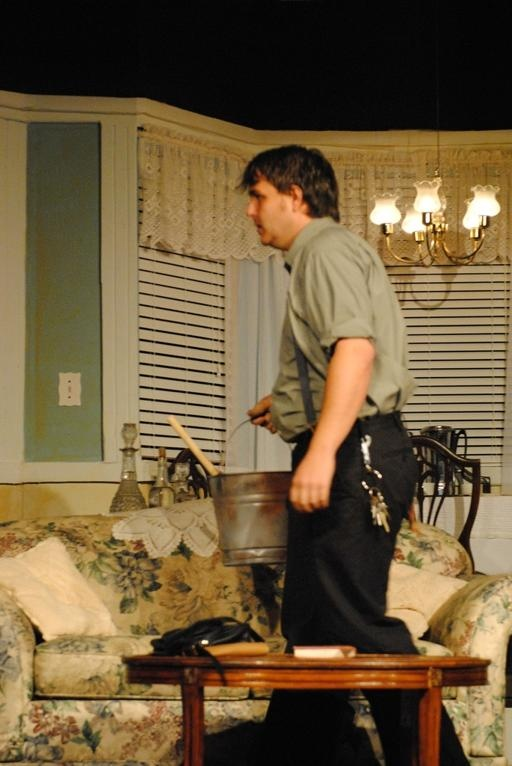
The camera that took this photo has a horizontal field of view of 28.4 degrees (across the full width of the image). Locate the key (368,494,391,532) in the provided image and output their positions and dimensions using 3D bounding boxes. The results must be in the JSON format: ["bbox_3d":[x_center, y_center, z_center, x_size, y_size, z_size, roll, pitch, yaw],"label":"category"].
[{"bbox_3d":[0.224,0.233,1.834,0.039,0.062,0.022,-6,11,45],"label":"key"}]

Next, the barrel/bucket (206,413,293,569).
[{"bbox_3d":[0.009,0.216,2.074,0.193,0.280,0.235,-9,-13,43],"label":"barrel/bucket"}]
